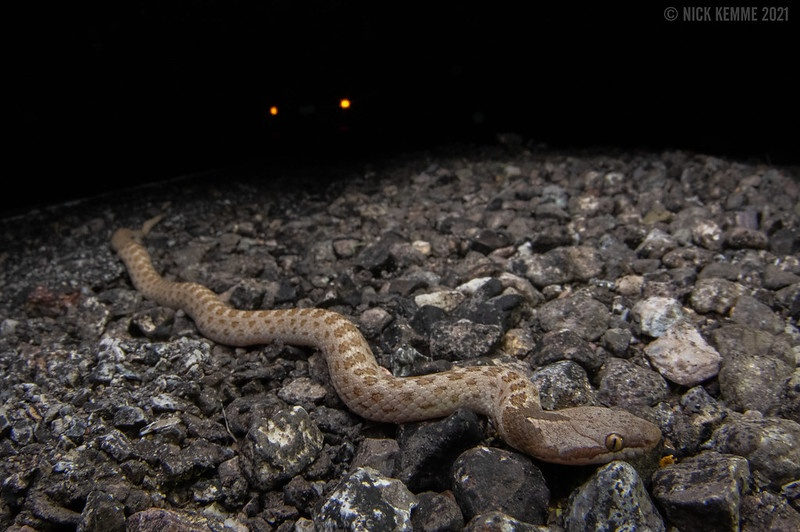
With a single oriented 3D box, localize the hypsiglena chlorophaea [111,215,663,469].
[{"bbox_3d":[-0.195,0.792,5.419,4.390,1.034,0.643,5,26,21],"label":"hypsiglena chlorophaea"}]
